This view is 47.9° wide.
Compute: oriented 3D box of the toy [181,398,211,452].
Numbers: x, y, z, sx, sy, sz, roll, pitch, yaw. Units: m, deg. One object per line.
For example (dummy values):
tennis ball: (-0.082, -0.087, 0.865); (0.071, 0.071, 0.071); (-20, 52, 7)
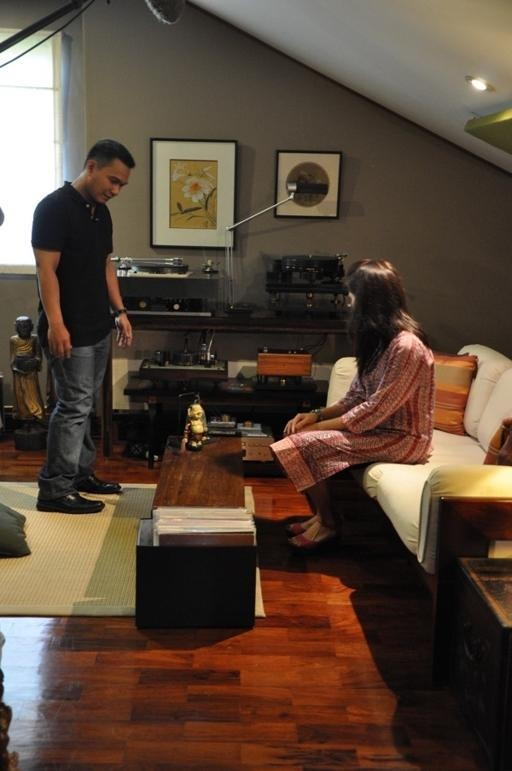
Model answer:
toy: (-0.246, 0.160, 2.347); (0.109, 0.200, 0.067); (-6, 24, -24)

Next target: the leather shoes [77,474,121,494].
leather shoes: (-0.737, 0.463, 2.757); (0.238, 0.093, 0.080); (1, 7, -3)

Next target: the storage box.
storage box: (-0.177, 0.523, 1.740); (0.290, 0.198, 0.286); (1, 9, -3)

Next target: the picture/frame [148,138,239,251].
picture/frame: (-0.392, -1.223, 3.570); (0.646, 0.759, 0.056); (1, 10, -3)

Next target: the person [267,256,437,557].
person: (0.378, 0.087, 2.159); (0.567, 1.107, 0.397); (4, 7, 13)

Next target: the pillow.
pillow: (0.935, 0.050, 2.721); (0.133, 0.371, 0.381); (9, 1, 3)

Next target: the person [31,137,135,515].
person: (-0.742, -0.228, 2.444); (0.380, 1.542, 0.340); (0, 7, -20)

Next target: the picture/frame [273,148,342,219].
picture/frame: (0.310, -1.274, 3.548); (0.448, 0.437, 0.044); (1, 13, -2)

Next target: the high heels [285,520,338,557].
high heels: (0.209, 0.587, 2.241); (0.157, 0.056, 0.114); (-4, 11, -17)

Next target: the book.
book: (-0.151, 0.400, 1.645); (0.293, 0.081, 0.121); (2, 7, -3)

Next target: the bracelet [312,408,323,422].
bracelet: (0.256, 0.118, 2.341); (0.034, 0.046, 0.051); (6, -3, 8)

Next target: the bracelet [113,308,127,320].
bracelet: (-0.662, -0.355, 2.827); (0.048, 0.030, 0.061); (-26, 13, -20)
